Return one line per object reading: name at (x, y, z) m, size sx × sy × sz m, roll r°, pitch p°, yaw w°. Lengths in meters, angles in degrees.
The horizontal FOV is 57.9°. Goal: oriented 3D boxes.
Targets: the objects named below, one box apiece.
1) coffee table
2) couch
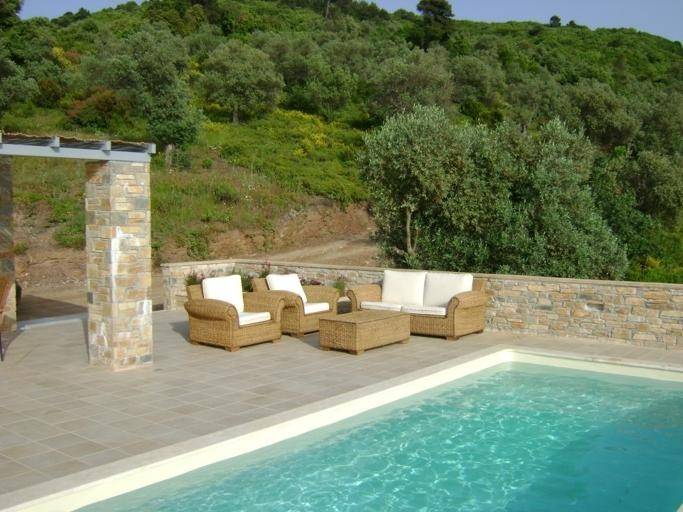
coffee table at (0.426, 1.281, 10.682) m, size 0.860 × 0.612 × 1.516 m, roll 0°, pitch 2°, yaw 41°
couch at (1.594, 0.804, 11.537) m, size 2.363 × 1.308 × 1.367 m, roll 7°, pitch 6°, yaw 39°
